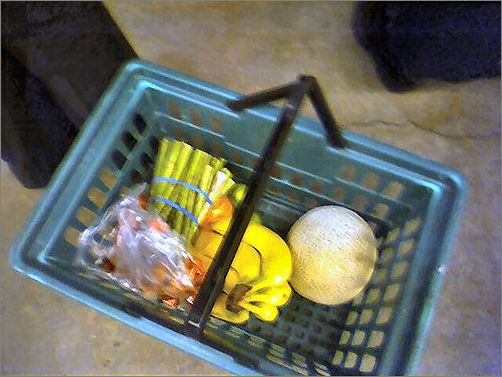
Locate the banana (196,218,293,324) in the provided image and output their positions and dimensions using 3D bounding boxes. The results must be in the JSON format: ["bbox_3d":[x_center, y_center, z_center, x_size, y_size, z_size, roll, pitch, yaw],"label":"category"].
[{"bbox_3d":[0.002,0.183,1.465,0.223,0.088,0.222,25,90,7],"label":"banana"}]
